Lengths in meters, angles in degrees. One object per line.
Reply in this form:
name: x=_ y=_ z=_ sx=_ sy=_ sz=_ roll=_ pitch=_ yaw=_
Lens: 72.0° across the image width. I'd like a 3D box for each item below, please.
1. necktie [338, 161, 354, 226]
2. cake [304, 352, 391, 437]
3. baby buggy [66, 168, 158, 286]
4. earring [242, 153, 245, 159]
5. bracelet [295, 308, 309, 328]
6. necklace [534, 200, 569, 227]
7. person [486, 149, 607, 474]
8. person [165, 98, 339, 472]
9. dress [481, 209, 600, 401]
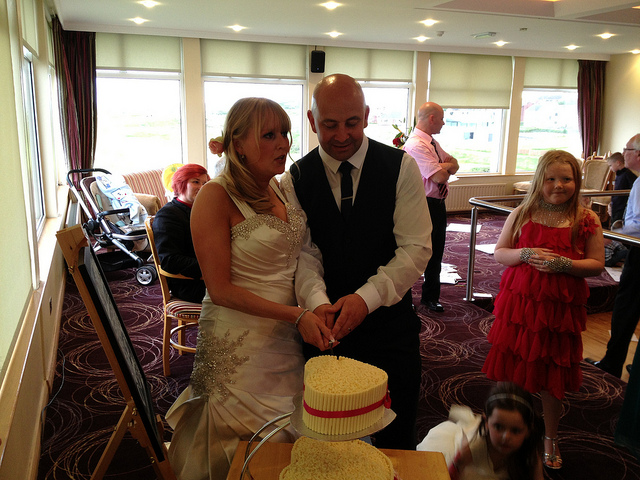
necktie: x=0.124 y=-0.212 z=1.997 sx=0.049 sy=0.282 sz=0.047 roll=-2 pitch=-12 yaw=10
cake: x=0.049 y=0.466 z=1.364 sx=0.263 sy=0.107 sz=0.309 roll=-13 pitch=13 yaw=-43
baby buggy: x=-2.814 y=-0.265 z=6.172 sx=1.368 sy=1.413 sz=1.239 roll=2 pitch=10 yaw=-34
earring: x=-0.315 y=-0.342 z=1.803 sx=0.008 sy=0.018 sz=0.013 roll=-3 pitch=15 yaw=-9
bracelet: x=-0.077 y=0.295 z=1.686 sx=0.019 sy=0.071 sz=0.074 roll=31 pitch=-9 yaw=3
necklace: x=1.329 y=-0.149 z=2.541 sx=0.138 sy=0.147 sz=0.065 roll=-5 pitch=-7 yaw=25
person: x=1.277 y=0.400 z=2.579 sx=0.570 sy=1.786 sz=0.476 roll=9 pitch=17 yaw=34
person: x=-0.308 y=0.193 z=1.724 sx=0.689 sy=1.456 sz=0.763 roll=-4 pitch=15 yaw=-14
dress: x=1.262 y=0.351 z=2.550 sx=0.519 sy=1.039 sz=0.457 roll=8 pitch=17 yaw=30
